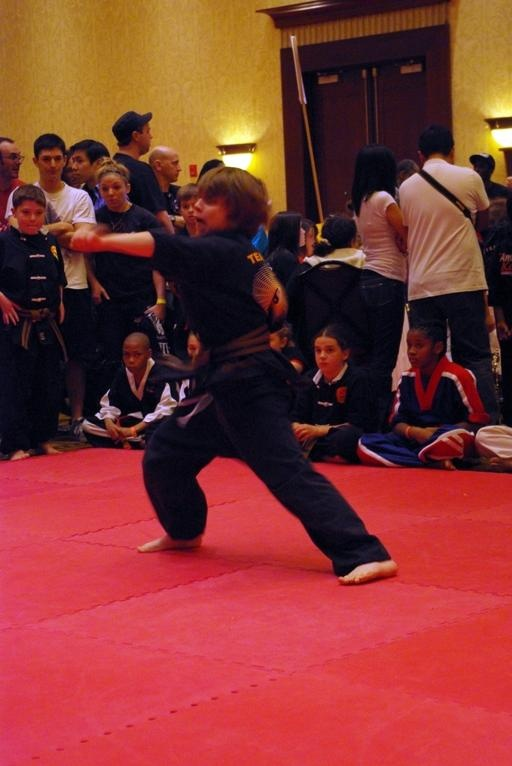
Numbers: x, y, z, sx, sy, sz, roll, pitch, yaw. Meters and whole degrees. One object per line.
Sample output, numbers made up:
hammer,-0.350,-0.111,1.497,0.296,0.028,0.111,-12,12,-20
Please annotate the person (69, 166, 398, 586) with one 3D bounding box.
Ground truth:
person,-0.082,-0.024,1.971,0.998,1.177,0.692,1,-8,35
